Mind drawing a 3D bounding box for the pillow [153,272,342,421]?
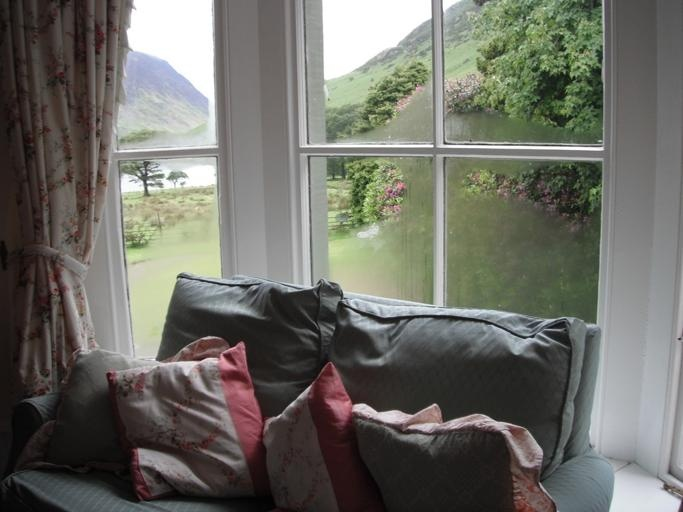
[{"bbox_3d":[-0.332,0.340,1.988,0.413,0.346,0.164,6,-32,21],"label":"pillow"}]

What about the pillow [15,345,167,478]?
[{"bbox_3d":[-0.877,0.533,1.909,0.365,0.405,0.119,9,-15,-8],"label":"pillow"}]
